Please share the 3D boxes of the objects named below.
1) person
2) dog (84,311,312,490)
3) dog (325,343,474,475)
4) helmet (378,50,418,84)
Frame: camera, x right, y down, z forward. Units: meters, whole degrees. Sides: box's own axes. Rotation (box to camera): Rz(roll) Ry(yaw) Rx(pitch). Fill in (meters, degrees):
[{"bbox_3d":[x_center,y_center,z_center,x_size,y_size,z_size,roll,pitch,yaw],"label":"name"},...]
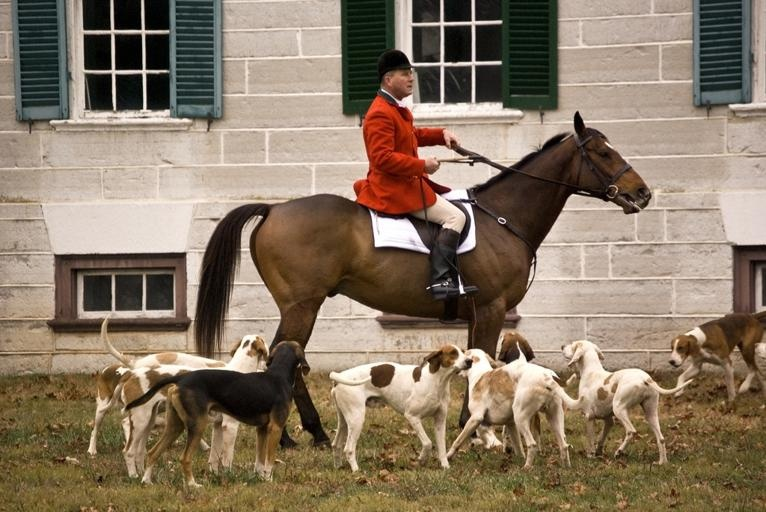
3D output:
[{"bbox_3d":[0.373,-1.111,26.446,1.426,3.412,0.905,-5,5,-1],"label":"person"},{"bbox_3d":[-2.330,2.004,25.308,2.746,1.742,1.518,-4,4,3],"label":"dog"},{"bbox_3d":[0.173,2.083,25.575,2.211,1.660,0.915,-4,-5,24],"label":"dog"},{"bbox_3d":[0.192,-2.678,26.515,0.635,0.309,0.453,-1,4,-15],"label":"helmet"}]
